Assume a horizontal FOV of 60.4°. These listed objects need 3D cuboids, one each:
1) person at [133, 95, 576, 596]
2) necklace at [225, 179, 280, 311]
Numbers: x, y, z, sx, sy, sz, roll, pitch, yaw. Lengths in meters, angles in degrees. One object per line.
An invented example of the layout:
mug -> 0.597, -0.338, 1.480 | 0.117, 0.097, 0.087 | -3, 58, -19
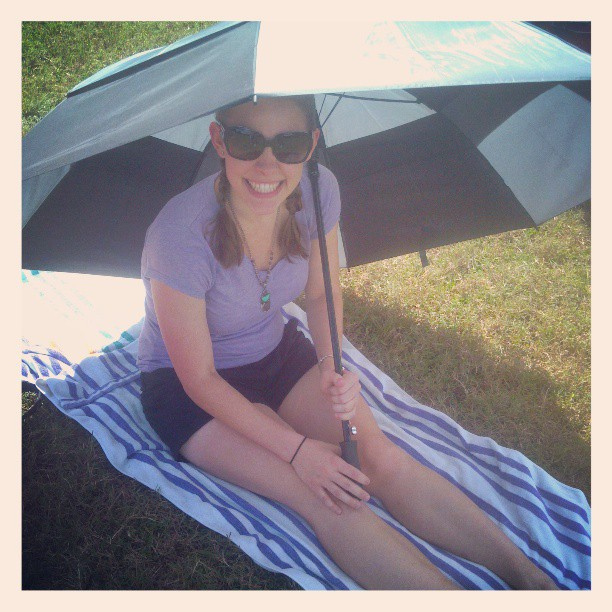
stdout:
person -> -0.041, 0.091, 1.960 | 1.601, 1.498, 0.897 | 31, 45, 32
necklace -> -0.201, -0.244, 2.138 | 0.220, 0.519, 0.180 | -7, 35, -11
